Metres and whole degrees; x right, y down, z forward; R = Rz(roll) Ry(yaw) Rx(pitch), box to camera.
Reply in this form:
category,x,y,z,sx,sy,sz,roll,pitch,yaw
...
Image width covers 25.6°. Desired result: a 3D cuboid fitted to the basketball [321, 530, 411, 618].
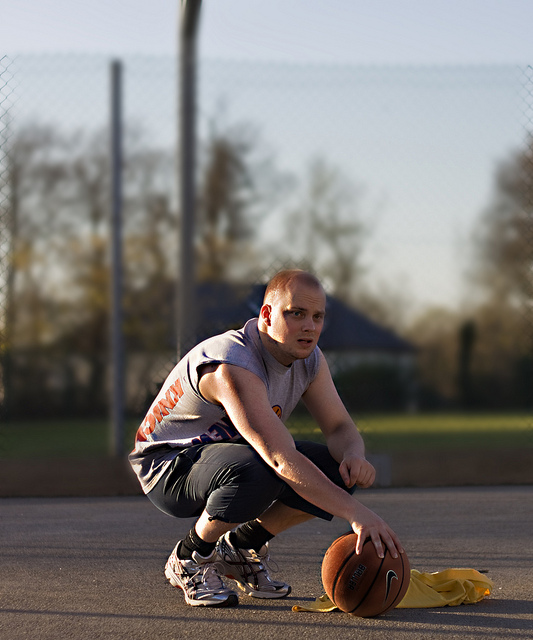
category,x,y,z,sx,sy,sz,roll,pitch,yaw
basketball,0.352,0.892,4.253,0.310,0.276,0.273,-12,54,-12

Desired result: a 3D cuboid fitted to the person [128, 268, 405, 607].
category,x,y,z,sx,sy,sz,roll,pitch,yaw
person,0.052,0.480,4.561,0.951,1.275,0.647,-2,-4,35
